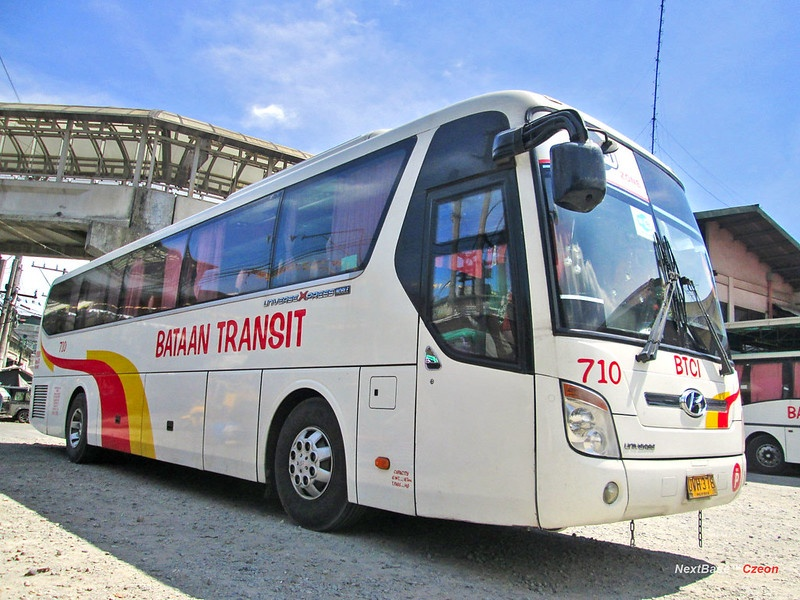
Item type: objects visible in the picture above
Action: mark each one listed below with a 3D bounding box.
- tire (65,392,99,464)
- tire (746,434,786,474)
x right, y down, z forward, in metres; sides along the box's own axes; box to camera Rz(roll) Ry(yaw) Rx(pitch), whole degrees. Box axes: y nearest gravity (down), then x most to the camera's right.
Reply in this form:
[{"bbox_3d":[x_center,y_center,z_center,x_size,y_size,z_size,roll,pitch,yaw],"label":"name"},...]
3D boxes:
[{"bbox_3d":[-5.533,2.255,9.573,1.237,1.254,0.406,-5,-10,44],"label":"tire"},{"bbox_3d":[9.598,4.043,14.428,0.827,1.006,0.804,-3,-11,32],"label":"tire"}]
